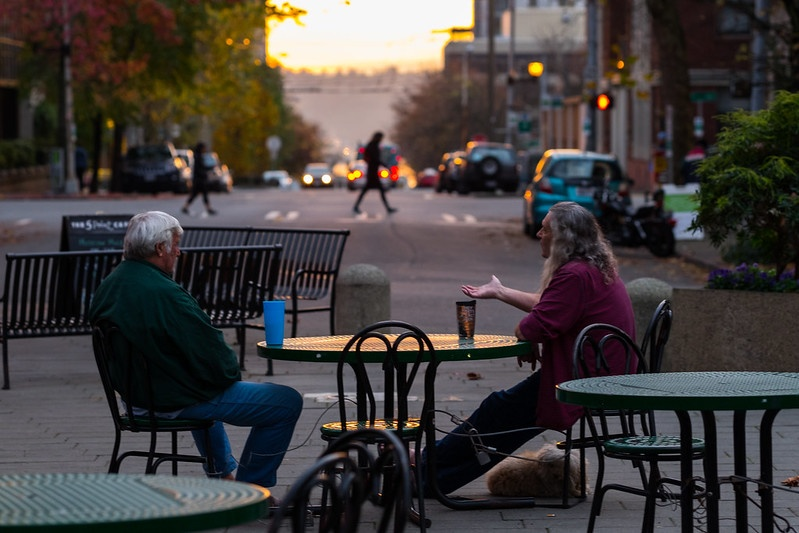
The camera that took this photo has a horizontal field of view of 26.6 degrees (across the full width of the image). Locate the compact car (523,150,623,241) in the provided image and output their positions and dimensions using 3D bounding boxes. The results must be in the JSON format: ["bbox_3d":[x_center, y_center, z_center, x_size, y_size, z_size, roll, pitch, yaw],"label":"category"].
[{"bbox_3d":[2.965,-1.299,30.208,1.354,1.198,2.291,1,11,0],"label":"compact car"}]

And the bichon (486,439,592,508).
[{"bbox_3d":[1.158,1.819,14.631,0.667,0.348,0.475,1,0,4],"label":"bichon"}]

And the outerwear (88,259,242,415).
[{"bbox_3d":[-1.931,0.570,13.947,1.166,1.267,0.279,-2,6,-7],"label":"outerwear"}]

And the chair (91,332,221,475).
[{"bbox_3d":[-2.104,1.206,14.306,0.968,1.666,0.838,0,-1,-24],"label":"chair"}]

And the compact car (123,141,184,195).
[{"bbox_3d":[-6.898,-2.728,47.285,2.287,1.418,1.616,-5,6,-27],"label":"compact car"}]

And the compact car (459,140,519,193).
[{"bbox_3d":[2.675,-3.005,51.214,1.753,1.458,1.564,1,6,24],"label":"compact car"}]

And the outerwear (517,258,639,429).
[{"bbox_3d":[1.300,0.643,14.290,1.256,1.871,1.238,2,-2,12],"label":"outerwear"}]
